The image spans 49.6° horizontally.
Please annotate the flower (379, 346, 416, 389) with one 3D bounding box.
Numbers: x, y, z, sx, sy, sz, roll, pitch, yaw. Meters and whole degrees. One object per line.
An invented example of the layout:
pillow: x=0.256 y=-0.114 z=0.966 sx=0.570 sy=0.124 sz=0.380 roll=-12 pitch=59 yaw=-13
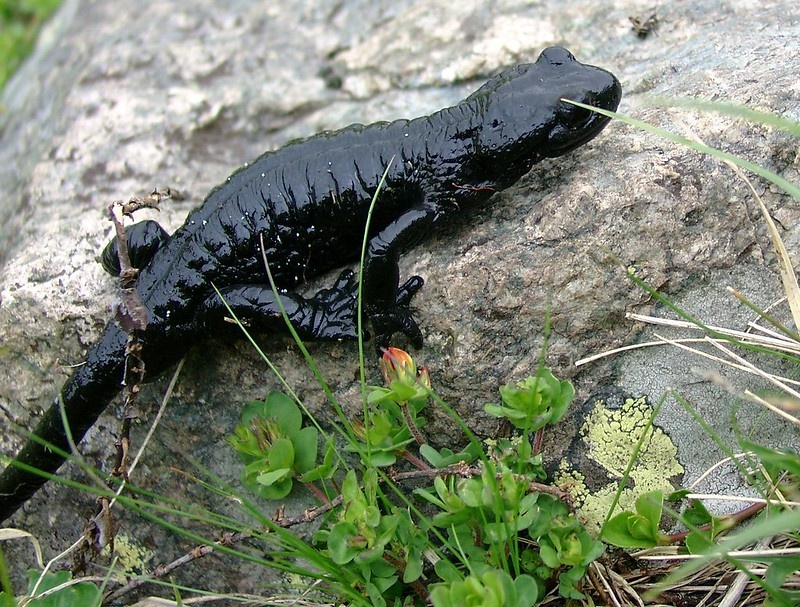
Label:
flower: x=0.048 y=0.328 z=4.203 sx=0.243 sy=0.212 sz=0.091 roll=-3 pitch=59 yaw=-41
